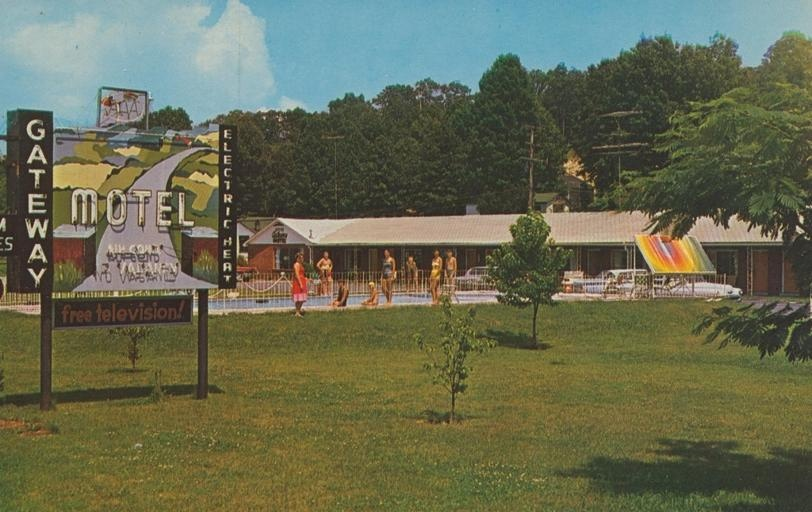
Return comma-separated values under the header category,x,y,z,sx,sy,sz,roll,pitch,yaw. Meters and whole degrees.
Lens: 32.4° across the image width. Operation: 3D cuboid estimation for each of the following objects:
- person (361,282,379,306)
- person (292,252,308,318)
category,x,y,z,sx,sy,sz,roll,pitch,yaw
person,-1.607,1.923,67.418,0.932,1.406,0.889,2,-1,-16
person,-4.888,1.240,63.356,0.672,2.641,0.846,4,8,14
